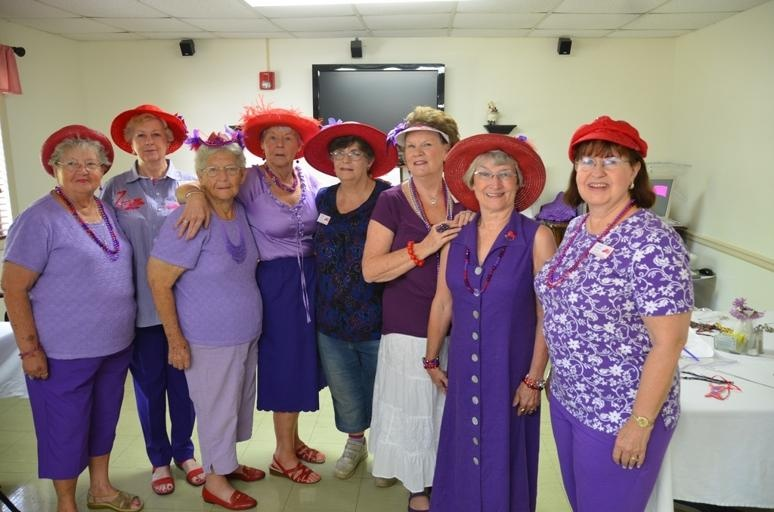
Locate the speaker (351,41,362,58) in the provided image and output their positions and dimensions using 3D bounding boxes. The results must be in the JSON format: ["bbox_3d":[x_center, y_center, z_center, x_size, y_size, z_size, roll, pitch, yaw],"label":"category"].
[{"bbox_3d":[-0.321,-2.167,6.118,0.156,0.191,0.127,-1,-14,1],"label":"speaker"}]

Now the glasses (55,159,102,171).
[{"bbox_3d":[-1.718,-0.504,3.264,0.208,0.055,0.055,0,9,-22],"label":"glasses"}]

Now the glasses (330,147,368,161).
[{"bbox_3d":[-0.230,-0.604,3.480,0.227,0.074,0.122,3,8,0],"label":"glasses"}]

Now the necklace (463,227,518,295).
[{"bbox_3d":[0.517,0.039,2.991,0.225,0.351,0.059,8,-20,37],"label":"necklace"}]

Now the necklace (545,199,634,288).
[{"bbox_3d":[0.983,-0.012,2.795,0.283,0.480,0.085,37,-2,41],"label":"necklace"}]

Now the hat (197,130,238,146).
[{"bbox_3d":[-0.971,-0.688,3.430,0.245,0.115,0.136,1,9,-15],"label":"hat"}]

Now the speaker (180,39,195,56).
[{"bbox_3d":[-2.114,-2.210,6.195,0.143,0.177,0.169,2,9,-10],"label":"speaker"}]

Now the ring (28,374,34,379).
[{"bbox_3d":[-1.974,0.675,3.251,0.031,0.011,0.027,8,4,-42],"label":"ring"}]

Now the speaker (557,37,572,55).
[{"bbox_3d":[1.842,-2.186,6.080,0.154,0.201,0.108,-1,45,2],"label":"speaker"}]

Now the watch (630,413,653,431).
[{"bbox_3d":[1.095,0.720,2.524,0.062,0.033,0.066,2,-15,35],"label":"watch"}]

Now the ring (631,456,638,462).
[{"bbox_3d":[1.090,0.902,2.582,0.034,0.032,0.008,2,9,-10],"label":"ring"}]

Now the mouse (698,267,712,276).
[{"bbox_3d":[3.093,0.159,5.675,0.132,0.057,0.118,7,9,21],"label":"mouse"}]

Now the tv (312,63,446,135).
[{"bbox_3d":[-0.059,-1.544,5.584,1.516,0.823,0.103,0,10,0],"label":"tv"}]

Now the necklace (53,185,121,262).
[{"bbox_3d":[-1.756,-0.152,3.348,0.078,0.453,0.311,-33,-15,12],"label":"necklace"}]

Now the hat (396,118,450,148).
[{"bbox_3d":[0.190,-0.695,3.297,0.206,0.076,0.177,10,-10,-6],"label":"hat"}]

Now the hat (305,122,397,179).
[{"bbox_3d":[-0.187,-0.671,3.566,0.444,0.134,0.432,18,-38,-21],"label":"hat"}]

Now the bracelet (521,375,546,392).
[{"bbox_3d":[0.754,0.646,2.987,0.083,0.049,0.093,9,-1,37],"label":"bracelet"}]
